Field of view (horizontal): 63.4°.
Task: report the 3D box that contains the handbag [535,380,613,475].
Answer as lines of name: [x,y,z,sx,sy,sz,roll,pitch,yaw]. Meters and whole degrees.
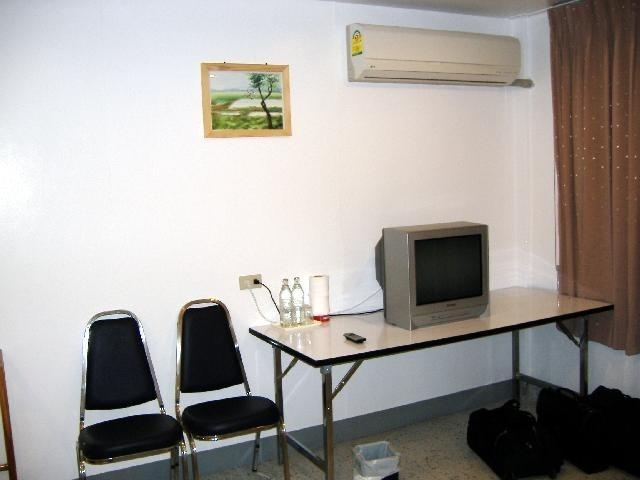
handbag: [1.688,1.270,3.433,0.209,0.413,0.470,-3,3,-16]

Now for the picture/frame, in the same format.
picture/frame: [-0.506,-0.934,3.408,0.484,0.434,0.038,-4,8,-21]

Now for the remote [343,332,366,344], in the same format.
remote: [0.217,0.591,3.154,0.110,0.029,0.192,-5,10,-18]

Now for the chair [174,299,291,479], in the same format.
chair: [-0.578,0.993,3.211,0.599,1.159,0.670,-6,10,-23]

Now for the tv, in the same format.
tv: [0.822,0.200,3.637,0.839,0.837,0.615,-4,4,-26]
